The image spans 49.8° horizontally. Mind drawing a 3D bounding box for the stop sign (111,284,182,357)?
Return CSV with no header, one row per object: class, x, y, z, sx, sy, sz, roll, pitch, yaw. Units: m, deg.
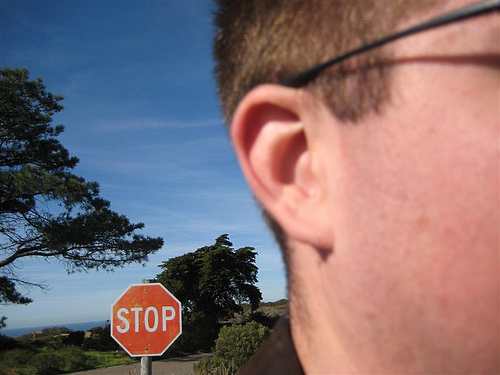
stop sign,-1.174,1.550,6.210,0.806,0.799,0.690,2,-15,-14
